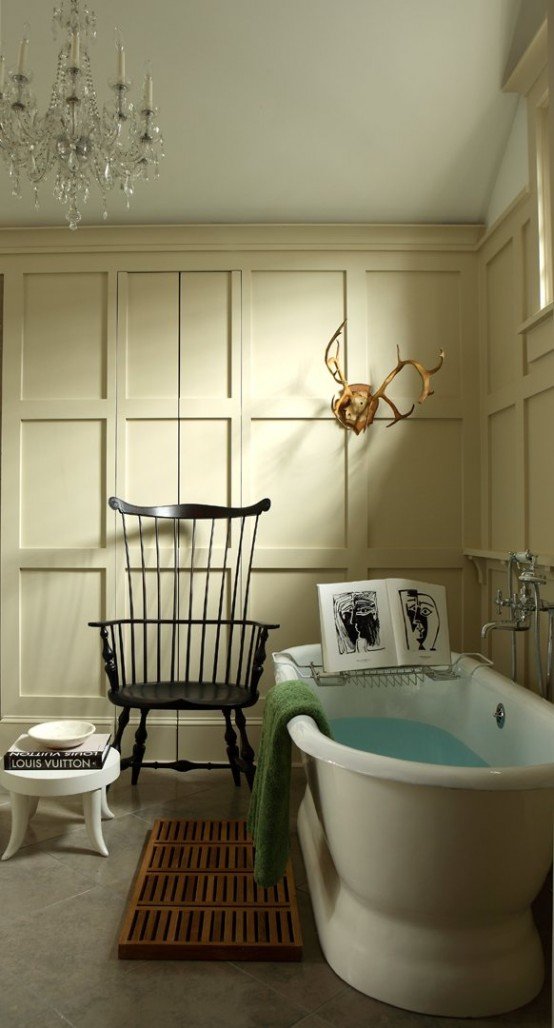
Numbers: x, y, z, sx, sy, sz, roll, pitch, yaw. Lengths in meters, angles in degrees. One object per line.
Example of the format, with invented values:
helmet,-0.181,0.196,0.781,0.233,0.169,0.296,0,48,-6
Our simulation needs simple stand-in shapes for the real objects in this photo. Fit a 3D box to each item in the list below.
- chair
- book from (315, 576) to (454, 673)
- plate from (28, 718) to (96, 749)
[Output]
chair,-0.341,0.492,2.693,0.601,1.110,0.473,1,-3,-1
book,0.334,0.352,2.315,0.284,0.207,0.034,0,-22,-11
plate,-0.653,0.663,2.252,0.103,0.031,0.104,1,3,-33
